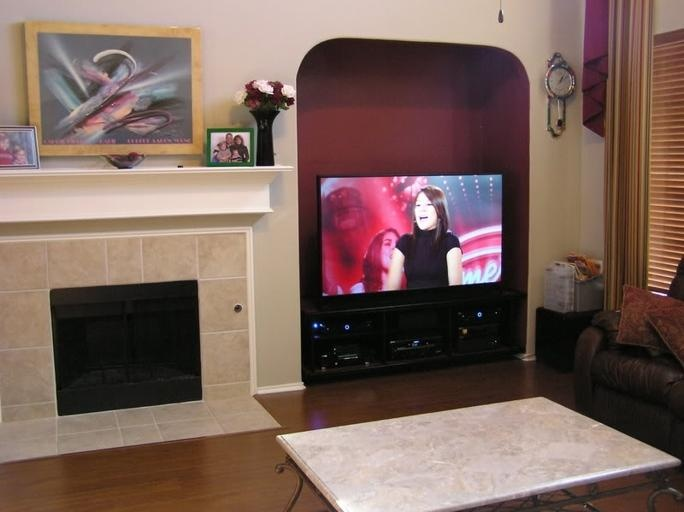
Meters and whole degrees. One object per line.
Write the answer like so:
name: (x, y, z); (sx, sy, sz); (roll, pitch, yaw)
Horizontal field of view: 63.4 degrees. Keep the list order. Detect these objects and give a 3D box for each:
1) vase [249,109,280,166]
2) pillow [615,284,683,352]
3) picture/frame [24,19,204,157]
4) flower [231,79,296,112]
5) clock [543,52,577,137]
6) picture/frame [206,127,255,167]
vase: (-0.591, -0.906, 4.225); (0.235, 0.399, 0.222); (12, 21, 31)
pillow: (1.951, 0.383, 3.623); (0.378, 0.117, 0.370); (13, 56, 21)
picture/frame: (-1.698, -1.232, 3.971); (1.008, 0.793, 0.039); (-2, 5, -18)
flower: (-0.561, -1.180, 4.083); (0.287, 0.205, 0.294); (1, 8, -5)
clock: (1.957, -1.433, 4.959); (0.346, 0.733, 0.114); (-5, 11, -23)
picture/frame: (-0.848, -0.811, 4.135); (0.284, 0.248, 0.022); (-2, 5, -8)
